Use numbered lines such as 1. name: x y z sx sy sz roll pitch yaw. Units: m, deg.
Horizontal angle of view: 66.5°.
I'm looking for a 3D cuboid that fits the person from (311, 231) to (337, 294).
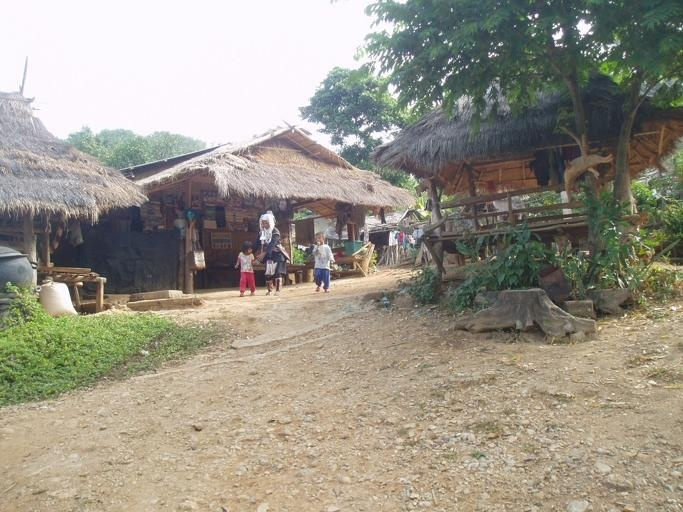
1. person: -0.463 0.141 13.324 0.491 1.226 1.257 -3 -2 -3
